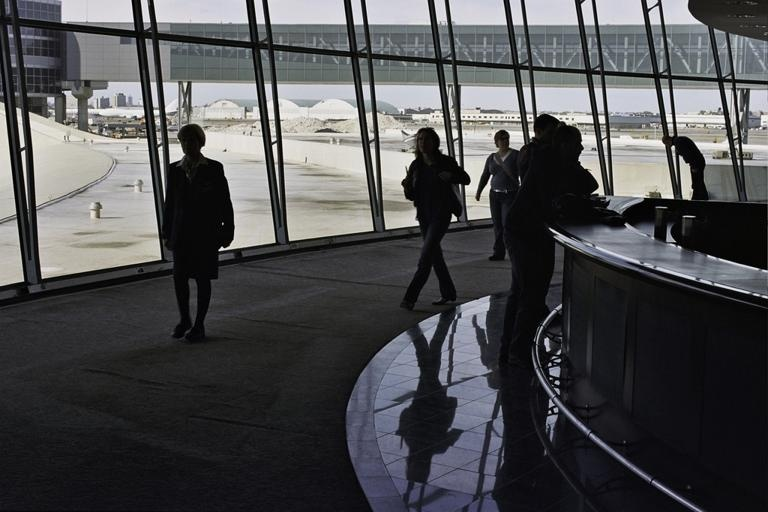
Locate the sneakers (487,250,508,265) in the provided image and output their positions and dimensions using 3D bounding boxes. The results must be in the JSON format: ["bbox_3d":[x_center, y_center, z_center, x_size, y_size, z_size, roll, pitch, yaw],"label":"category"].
[{"bbox_3d":[1.747,0.029,9.366,0.276,0.244,0.125,2,6,2],"label":"sneakers"}]

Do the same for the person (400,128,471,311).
[{"bbox_3d":[0.549,-0.408,6.684,0.709,1.972,0.688,2,12,7],"label":"person"}]

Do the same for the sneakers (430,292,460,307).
[{"bbox_3d":[0.698,0.504,6.947,0.357,0.140,0.117,-2,3,-7],"label":"sneakers"}]

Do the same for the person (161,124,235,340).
[{"bbox_3d":[-1.719,-0.217,5.623,0.629,1.973,0.419,-3,12,-16],"label":"person"}]

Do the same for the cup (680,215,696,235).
[{"bbox_3d":[2.115,-0.209,4.226,0.063,0.132,0.095,5,13,19],"label":"cup"}]

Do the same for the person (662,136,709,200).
[{"bbox_3d":[4.554,-1.330,9.086,0.628,0.895,0.901,5,12,20],"label":"person"}]

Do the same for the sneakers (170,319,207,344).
[{"bbox_3d":[-1.819,0.724,5.664,0.173,0.115,0.303,0,-9,30],"label":"sneakers"}]

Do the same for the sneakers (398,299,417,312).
[{"bbox_3d":[0.252,0.534,6.642,0.089,0.110,0.169,6,-9,31],"label":"sneakers"}]
